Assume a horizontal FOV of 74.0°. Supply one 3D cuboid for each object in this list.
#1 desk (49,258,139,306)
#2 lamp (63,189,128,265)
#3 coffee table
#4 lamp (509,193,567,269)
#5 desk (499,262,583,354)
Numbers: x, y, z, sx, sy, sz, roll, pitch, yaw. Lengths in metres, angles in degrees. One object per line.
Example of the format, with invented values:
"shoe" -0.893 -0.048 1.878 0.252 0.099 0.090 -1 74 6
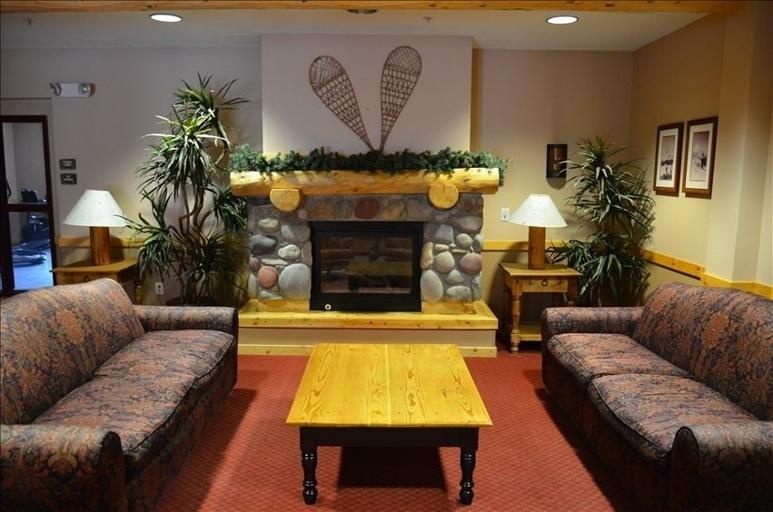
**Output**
"desk" -2.905 0.121 5.259 0.665 0.627 0.659 -2 6 -8
"lamp" -2.914 -0.324 5.429 0.758 0.800 0.741 2 8 10
"coffee table" -0.001 1.124 3.506 1.187 0.695 1.042 -2 9 -3
"lamp" 1.595 -0.248 5.263 0.583 0.757 0.404 -7 11 -34
"desk" 1.454 0.503 5.387 0.815 0.903 0.871 0 2 2
